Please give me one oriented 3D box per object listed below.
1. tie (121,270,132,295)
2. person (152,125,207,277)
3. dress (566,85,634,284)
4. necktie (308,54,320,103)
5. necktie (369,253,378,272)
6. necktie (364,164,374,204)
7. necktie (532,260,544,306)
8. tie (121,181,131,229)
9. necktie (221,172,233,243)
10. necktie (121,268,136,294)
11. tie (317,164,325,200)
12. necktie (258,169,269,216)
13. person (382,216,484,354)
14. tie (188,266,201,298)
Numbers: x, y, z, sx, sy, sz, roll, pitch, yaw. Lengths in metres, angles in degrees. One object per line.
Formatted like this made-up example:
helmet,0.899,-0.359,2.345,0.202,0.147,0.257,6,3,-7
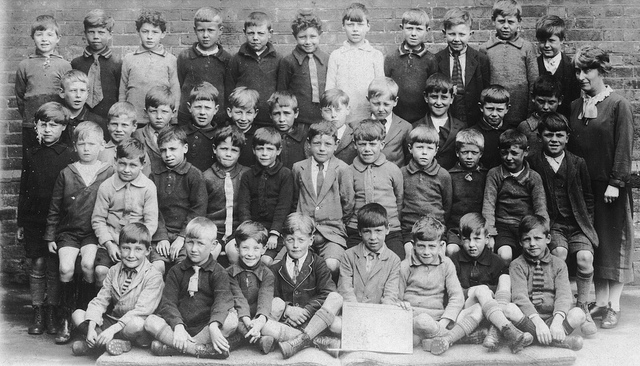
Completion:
tie,-2.189,1.119,7.483,0.052,0.194,0.164,32,-24,-18
person,-1.750,0.206,7.959,0.677,1.771,0.644,0,5,2
dress,3.463,0.009,8.175,0.761,2.302,0.320,2,6,28
necktie,-0.093,-1.393,8.766,0.125,0.635,0.125,-1,5,-11
necktie,0.619,0.914,7.679,0.062,0.156,0.123,11,-18,-4
necktie,0.594,-0.001,8.140,0.114,0.457,0.119,0,5,-2
necktie,2.502,1.140,7.589,0.127,0.488,0.124,1,5,16
tie,-2.335,0.254,7.923,0.129,0.536,0.062,-4,6,-36
necktie,-1.145,0.287,8.117,0.128,0.827,0.244,-1,5,-7
necktie,-2.191,1.093,7.446,0.210,0.227,0.081,1,-18,13
tie,0.003,-0.039,8.072,0.084,0.378,0.087,0,5,0
necktie,-0.688,0.122,8.139,0.156,0.536,0.100,12,15,40
person,1.262,1.134,7.465,1.222,1.285,1.447,0,10,-6
tie,-1.416,1.102,7.404,0.107,0.321,0.085,0,5,7
